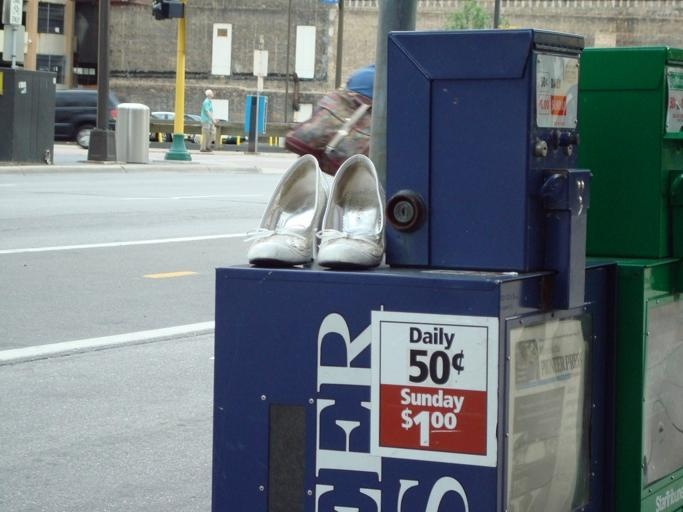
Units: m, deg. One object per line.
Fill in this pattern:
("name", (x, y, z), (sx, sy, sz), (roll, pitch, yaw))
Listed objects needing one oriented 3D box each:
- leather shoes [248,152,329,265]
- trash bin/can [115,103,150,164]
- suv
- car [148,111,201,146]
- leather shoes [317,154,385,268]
("leather shoes", (-0.199, -0.157, 4.035), (0.178, 0.249, 0.616), (3, 43, 14))
("trash bin/can", (-4.785, -2.891, 23.180), (0.718, 1.527, 0.812), (1, 5, 10))
("suv", (-7.549, -4.448, 32.198), (2.822, 1.769, 1.617), (6, 10, 4))
("car", (-6.157, -4.706, 37.871), (1.836, 1.128, 4.230), (0, 10, -10))
("leather shoes", (0.046, -0.151, 3.937), (0.157, 0.207, 0.564), (0, 50, 10))
